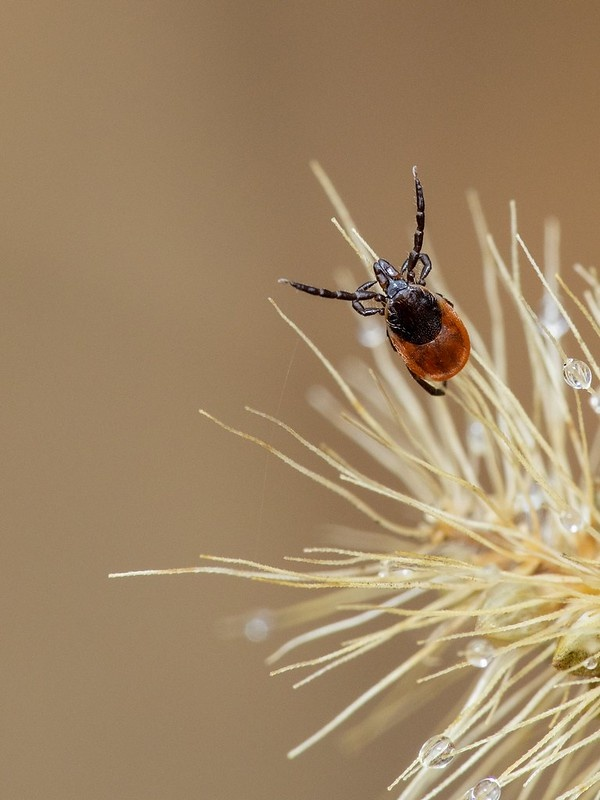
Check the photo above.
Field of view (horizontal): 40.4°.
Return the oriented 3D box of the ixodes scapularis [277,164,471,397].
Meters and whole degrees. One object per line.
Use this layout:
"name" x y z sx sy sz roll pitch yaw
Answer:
"ixodes scapularis" 0.106 -0.112 0.903 0.183 0.271 0.075 -36 -32 13
